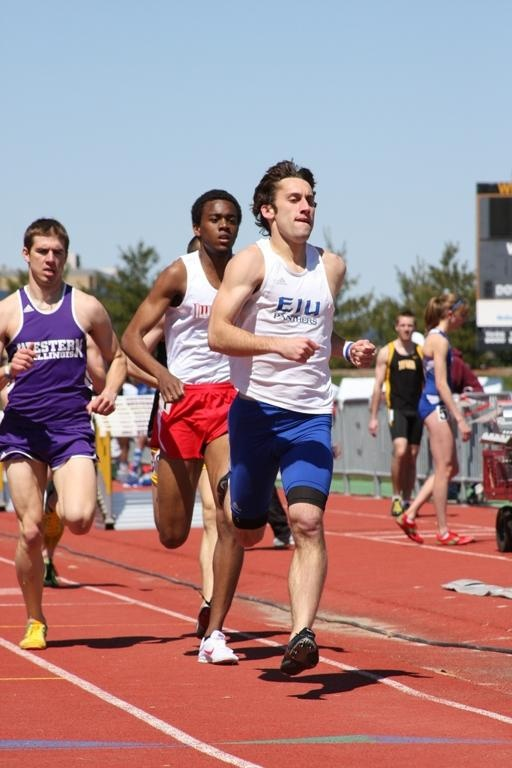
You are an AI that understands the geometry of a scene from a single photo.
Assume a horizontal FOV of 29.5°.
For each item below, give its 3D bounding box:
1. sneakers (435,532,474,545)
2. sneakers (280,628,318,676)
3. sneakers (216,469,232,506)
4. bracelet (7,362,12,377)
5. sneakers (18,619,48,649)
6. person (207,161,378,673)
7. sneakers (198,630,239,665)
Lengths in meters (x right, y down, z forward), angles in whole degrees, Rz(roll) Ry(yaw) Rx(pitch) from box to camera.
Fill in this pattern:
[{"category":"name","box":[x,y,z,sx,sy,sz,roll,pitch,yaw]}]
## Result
[{"category":"sneakers","box":[1.870,1.482,9.131,0.308,0.109,0.162,-2,-1,8]},{"category":"sneakers","box":[0.147,0.951,3.453,0.097,0.085,0.188,21,-44,-11]},{"category":"sneakers","box":[-0.149,0.467,4.243,0.091,0.112,0.103,0,-25,-5]},{"category":"bracelet","box":[-1.109,-0.063,4.358,0.012,0.049,0.050,1,5,-13]},{"category":"sneakers","box":[-1.054,1.202,4.621,0.084,0.082,0.195,2,-11,-8]},{"category":"person","box":[0.115,0.104,3.766,0.606,2.009,0.892,1,3,6]},{"category":"sneakers","box":[-0.184,1.184,4.319,0.094,0.116,0.251,3,-9,-23]}]
